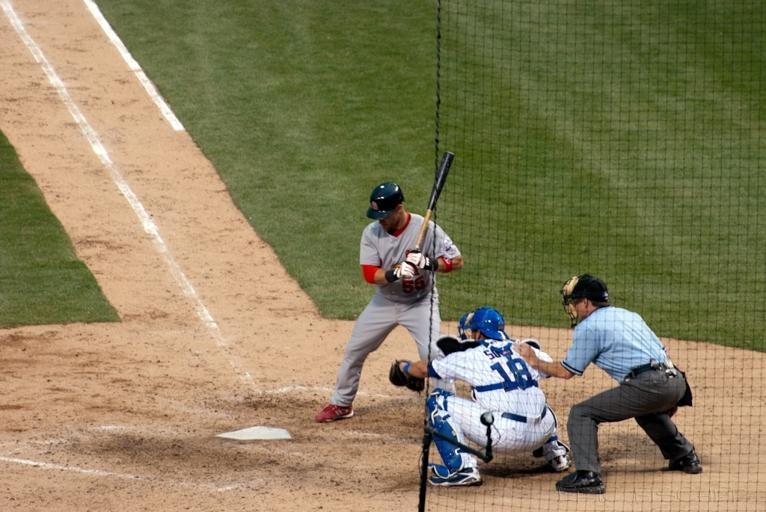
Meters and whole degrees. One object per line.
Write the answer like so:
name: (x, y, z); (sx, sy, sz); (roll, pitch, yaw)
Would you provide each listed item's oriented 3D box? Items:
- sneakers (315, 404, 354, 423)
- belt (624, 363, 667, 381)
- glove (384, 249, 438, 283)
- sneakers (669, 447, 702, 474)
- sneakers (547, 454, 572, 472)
sneakers: (-0.763, 2.400, 22.057); (0.622, 0.210, 0.256); (-9, -25, -16)
belt: (3.699, 1.621, 20.524); (0.354, 0.099, 0.261); (-29, -3, 19)
glove: (0.381, 0.221, 21.241); (0.563, 0.179, 0.551); (-31, 0, 18)
sneakers: (4.328, 2.976, 20.647); (0.653, 0.234, 0.223); (-5, -2, 11)
sneakers: (2.549, 2.996, 20.963); (0.238, 0.198, 0.289); (-4, 10, -38)
